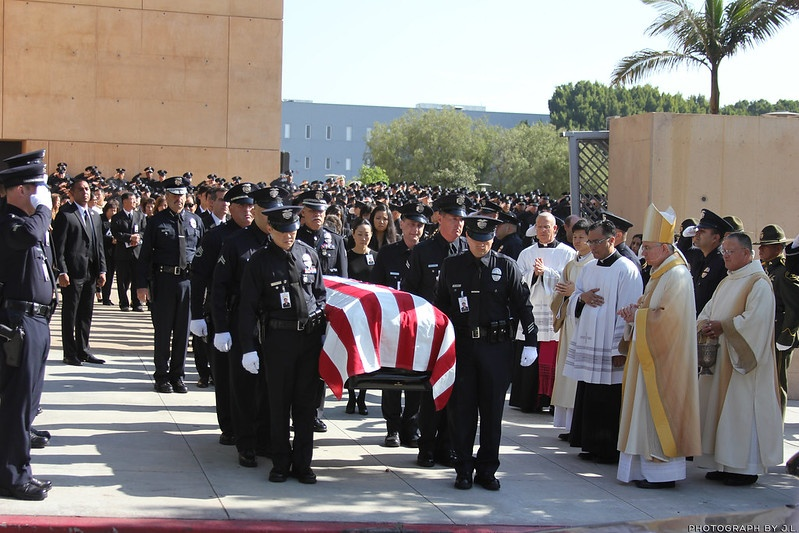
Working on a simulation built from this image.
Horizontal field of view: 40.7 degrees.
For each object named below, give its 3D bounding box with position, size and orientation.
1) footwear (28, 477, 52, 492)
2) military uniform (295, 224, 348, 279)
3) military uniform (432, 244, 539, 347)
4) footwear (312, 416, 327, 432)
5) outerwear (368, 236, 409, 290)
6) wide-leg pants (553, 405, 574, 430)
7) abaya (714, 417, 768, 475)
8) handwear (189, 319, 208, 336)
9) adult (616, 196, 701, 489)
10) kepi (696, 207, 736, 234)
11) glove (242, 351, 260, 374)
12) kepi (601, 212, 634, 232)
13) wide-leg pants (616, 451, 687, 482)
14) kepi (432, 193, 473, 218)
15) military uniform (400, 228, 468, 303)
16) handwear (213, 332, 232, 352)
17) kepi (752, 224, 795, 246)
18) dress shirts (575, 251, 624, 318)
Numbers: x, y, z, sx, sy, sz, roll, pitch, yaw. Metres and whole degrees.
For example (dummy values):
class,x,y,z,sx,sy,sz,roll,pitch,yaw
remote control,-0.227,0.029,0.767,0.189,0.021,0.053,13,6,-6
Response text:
class,x,y,z,sx,sy,sz,roll,pitch,yaw
footwear,-4.138,2.493,12.276,0.314,0.126,0.104,8,12,-19
military uniform,-1.063,-0.164,14.211,0.756,0.977,0.332,-3,1,-36
military uniform,0.999,0.403,13.276,1.589,1.263,0.656,0,-2,0
footwear,-1.085,2.154,14.549,0.164,0.136,0.334,1,-6,-5
outerwear,-0.155,-0.006,14.681,0.617,0.641,0.256,16,4,-15
wide-leg pants,2.230,2.084,14.807,0.321,0.395,0.300,1,2,0
abaya,4.246,2.239,13.352,0.713,0.890,0.538,2,-4,-24
handwear,-2.594,0.793,13.799,0.196,0.236,0.246,3,8,5
adult,3.264,1.008,13.700,1.049,3.398,1.211,2,2,-4
kepi,4.205,-0.575,14.358,0.389,0.188,0.316,14,2,-8
glove,-1.801,1.150,12.935,0.187,0.265,0.260,-1,4,-8
kepi,2.953,-0.567,14.539,0.423,0.145,0.387,12,10,-44
wide-leg pants,3.081,2.510,13.225,0.603,0.296,0.422,0,-1,-1
kepi,0.635,-0.780,13.725,0.330,0.181,0.346,1,12,-29
military uniform,0.446,0.026,13.692,0.832,0.735,0.399,13,7,-25
handwear,-2.187,0.938,13.187,0.190,0.239,0.246,5,32,-4
kepi,5.103,-0.396,14.796,0.544,0.226,0.535,0,1,32
dress shirts,2.555,0.239,14.113,0.245,0.845,0.645,21,-13,-37
